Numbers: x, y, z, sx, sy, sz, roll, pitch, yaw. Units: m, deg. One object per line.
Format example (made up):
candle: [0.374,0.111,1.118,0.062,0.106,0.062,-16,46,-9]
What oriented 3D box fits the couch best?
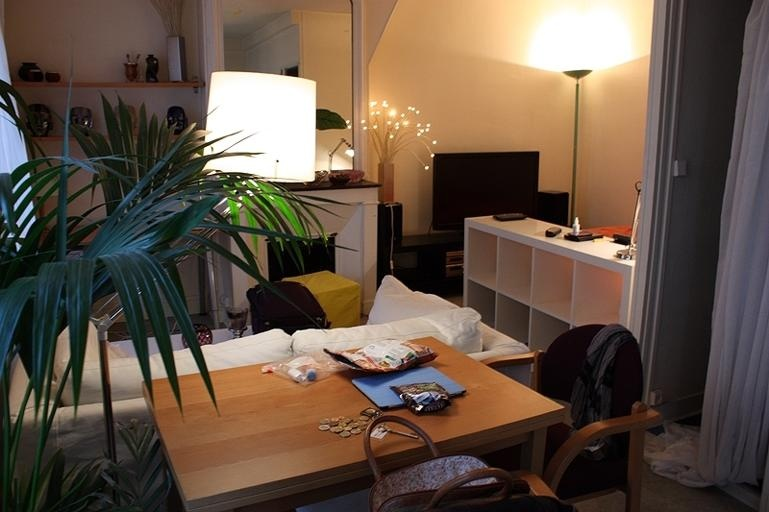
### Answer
couch: [-0.720,0.908,2.715,1.744,0.700,0.754,-6,20,-24]

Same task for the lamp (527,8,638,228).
lamp: [2.289,-1.630,6.394,1.054,2.516,0.472,2,13,13]

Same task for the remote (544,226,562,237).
remote: [1.286,-0.186,4.026,0.114,0.044,0.299,4,13,22]

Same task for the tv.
tv: [1.049,-0.745,5.835,1.470,0.845,0.291,-4,16,-22]

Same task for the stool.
stool: [-0.570,0.330,4.593,0.587,0.388,0.766,-4,15,-27]

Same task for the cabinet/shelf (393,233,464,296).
cabinet/shelf: [0.453,0.053,5.880,0.905,0.633,0.527,-1,16,-13]
